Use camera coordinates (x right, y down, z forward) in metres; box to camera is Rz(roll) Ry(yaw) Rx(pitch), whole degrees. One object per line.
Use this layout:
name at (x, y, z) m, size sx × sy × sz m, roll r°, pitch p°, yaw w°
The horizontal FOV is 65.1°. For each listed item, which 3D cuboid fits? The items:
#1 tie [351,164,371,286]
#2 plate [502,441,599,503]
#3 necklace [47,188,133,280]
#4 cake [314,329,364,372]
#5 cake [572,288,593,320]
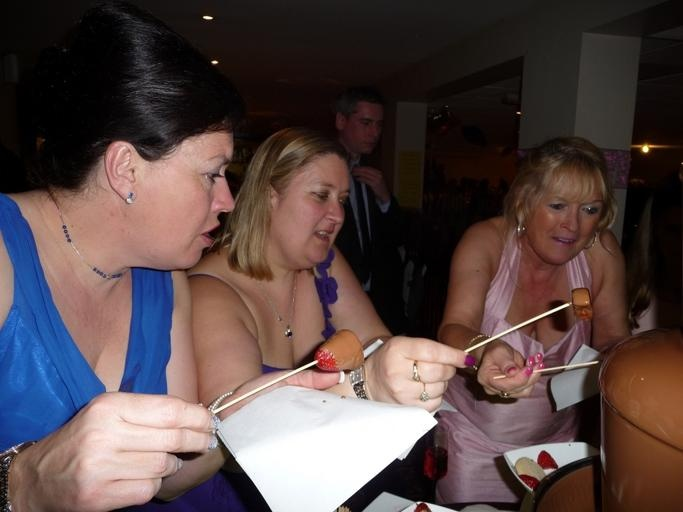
tie at (0.142, -0.160, 3.532) m, size 0.059 × 0.696 × 0.072 m, roll -5°, pitch 1°, yaw 5°
plate at (0.650, 0.645, 1.656) m, size 0.237 × 0.055 × 0.179 m, roll -7°, pitch 2°, yaw -6°
necklace at (-0.748, -0.049, 1.564) m, size 0.060 × 0.257 × 0.141 m, roll -17°, pitch 21°, yaw 32°
cake at (-0.006, 0.269, 1.446) m, size 0.062 × 0.125 × 0.142 m, roll 10°, pitch 12°, yaw 43°
cake at (0.721, 0.137, 1.605) m, size 0.053 × 0.087 × 0.140 m, roll 5°, pitch 9°, yaw 23°
